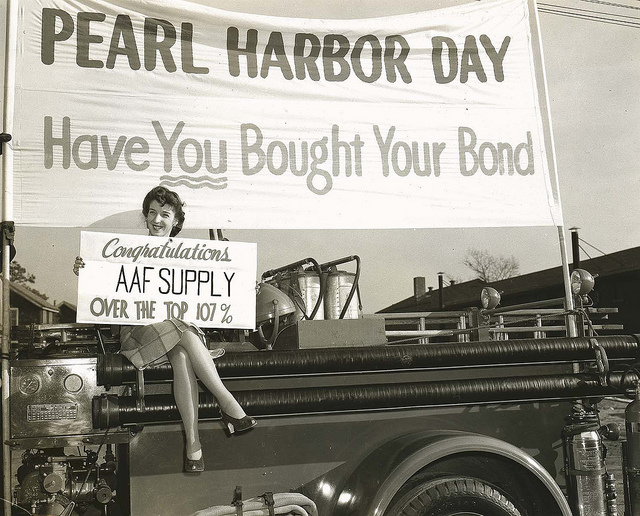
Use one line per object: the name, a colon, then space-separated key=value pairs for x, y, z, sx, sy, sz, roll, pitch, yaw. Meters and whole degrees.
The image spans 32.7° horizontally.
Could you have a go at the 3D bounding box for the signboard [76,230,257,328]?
signboard: x=-1.132 y=0.176 z=8.113 sx=1.304 sy=0.674 sz=0.188 roll=2 pitch=-17 yaw=-9
